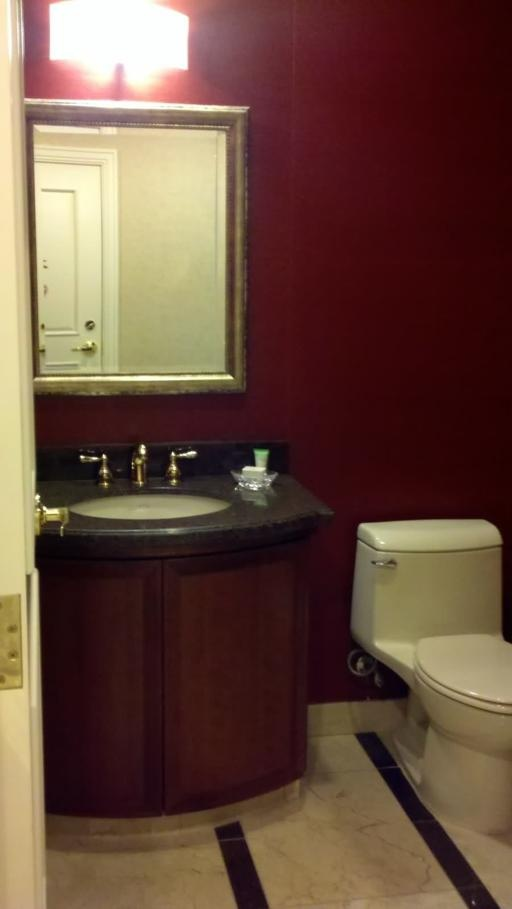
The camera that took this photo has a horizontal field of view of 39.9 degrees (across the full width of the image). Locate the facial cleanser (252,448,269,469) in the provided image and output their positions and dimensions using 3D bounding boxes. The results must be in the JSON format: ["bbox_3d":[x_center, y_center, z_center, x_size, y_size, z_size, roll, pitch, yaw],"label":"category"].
[{"bbox_3d":[0.015,0.011,1.932,0.043,0.079,0.046,2,1,45],"label":"facial cleanser"}]

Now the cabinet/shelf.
[{"bbox_3d":[-0.193,0.502,1.549,0.664,0.748,0.273,-2,6,-22],"label":"cabinet/shelf"}]

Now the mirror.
[{"bbox_3d":[-0.326,-0.567,1.845,0.768,1.087,0.044,-1,10,-9],"label":"mirror"}]
